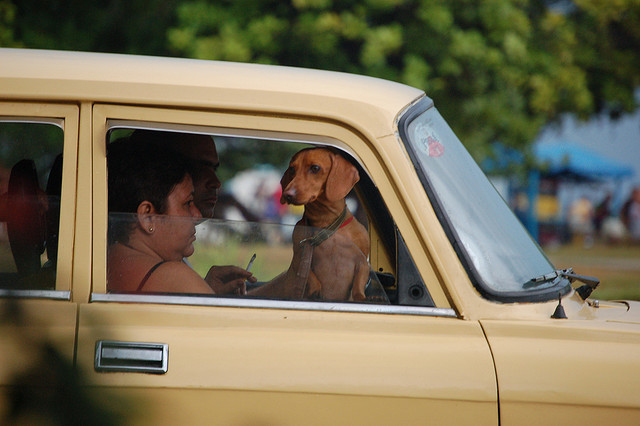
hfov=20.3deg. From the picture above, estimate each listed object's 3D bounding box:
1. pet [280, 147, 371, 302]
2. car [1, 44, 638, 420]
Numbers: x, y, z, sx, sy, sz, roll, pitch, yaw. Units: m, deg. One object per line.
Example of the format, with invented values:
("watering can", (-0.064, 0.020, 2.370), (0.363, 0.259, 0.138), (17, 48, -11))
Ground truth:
("pet", (0.110, 0.157, 20.077), (0.919, 1.932, 1.537), (-3, 6, 20))
("car", (-0.233, 0.129, 20.471), (6.216, 3.706, 3.753), (0, 5, 0))
